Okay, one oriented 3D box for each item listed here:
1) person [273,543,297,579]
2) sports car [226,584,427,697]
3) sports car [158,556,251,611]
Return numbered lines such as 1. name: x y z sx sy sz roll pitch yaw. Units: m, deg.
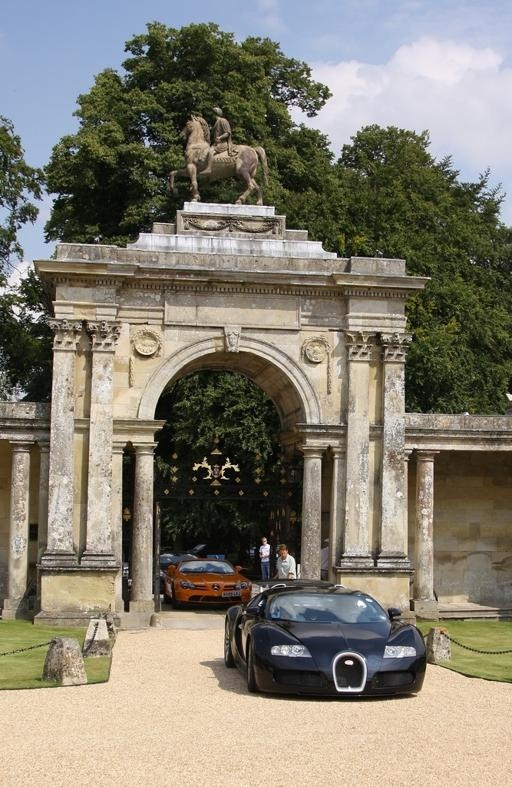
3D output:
1. person: 0.565 3.240 18.237 0.344 0.611 0.950 2 -3 1
2. sports car: 0.689 2.673 9.960 1.697 0.988 2.245 2 -3 -10
3. sports car: -1.100 4.378 21.639 1.632 1.024 1.955 3 -3 -16
